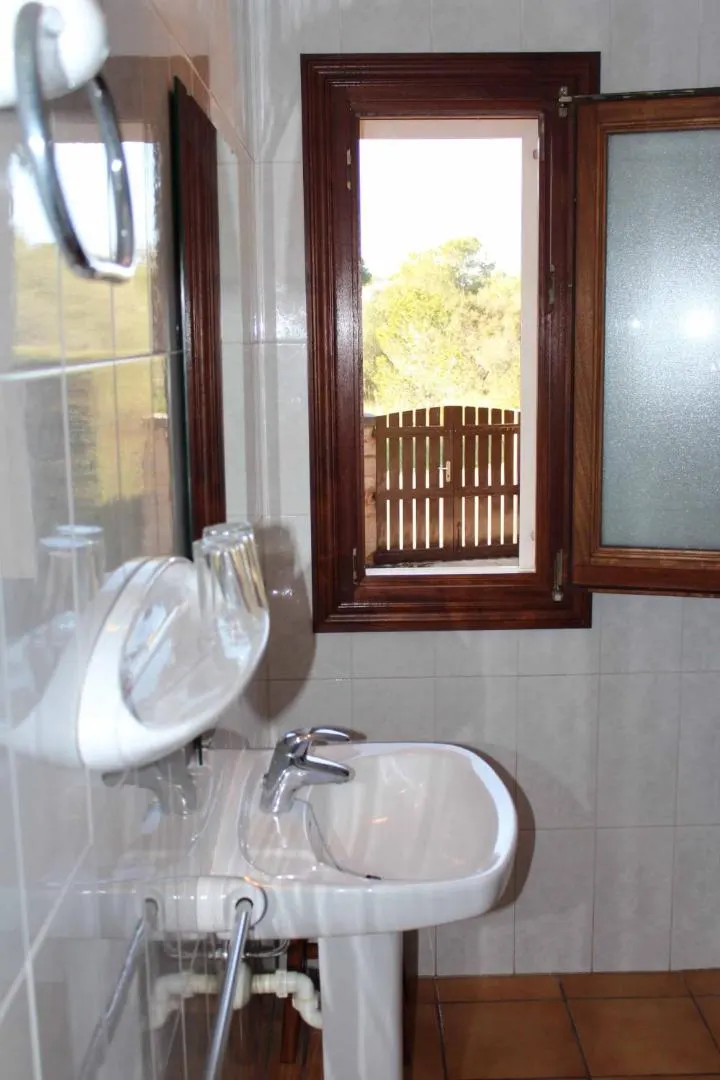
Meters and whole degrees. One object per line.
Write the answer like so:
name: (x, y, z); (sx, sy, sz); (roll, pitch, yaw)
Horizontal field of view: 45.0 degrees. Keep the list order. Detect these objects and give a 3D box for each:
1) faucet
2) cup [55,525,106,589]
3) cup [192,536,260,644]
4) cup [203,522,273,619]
faucet: (-0.084, 0.334, 1.309); (0.123, 0.131, 0.165); (4, 6, -7)
cup: (-0.191, 0.011, 0.600); (0.027, 0.036, 0.030); (2, 15, -4)
cup: (-0.079, 0.025, 0.519); (0.035, 0.065, 0.037); (-3, 18, 1)
cup: (-0.066, 0.013, 0.536); (0.030, 0.059, 0.035); (5, 38, 18)
